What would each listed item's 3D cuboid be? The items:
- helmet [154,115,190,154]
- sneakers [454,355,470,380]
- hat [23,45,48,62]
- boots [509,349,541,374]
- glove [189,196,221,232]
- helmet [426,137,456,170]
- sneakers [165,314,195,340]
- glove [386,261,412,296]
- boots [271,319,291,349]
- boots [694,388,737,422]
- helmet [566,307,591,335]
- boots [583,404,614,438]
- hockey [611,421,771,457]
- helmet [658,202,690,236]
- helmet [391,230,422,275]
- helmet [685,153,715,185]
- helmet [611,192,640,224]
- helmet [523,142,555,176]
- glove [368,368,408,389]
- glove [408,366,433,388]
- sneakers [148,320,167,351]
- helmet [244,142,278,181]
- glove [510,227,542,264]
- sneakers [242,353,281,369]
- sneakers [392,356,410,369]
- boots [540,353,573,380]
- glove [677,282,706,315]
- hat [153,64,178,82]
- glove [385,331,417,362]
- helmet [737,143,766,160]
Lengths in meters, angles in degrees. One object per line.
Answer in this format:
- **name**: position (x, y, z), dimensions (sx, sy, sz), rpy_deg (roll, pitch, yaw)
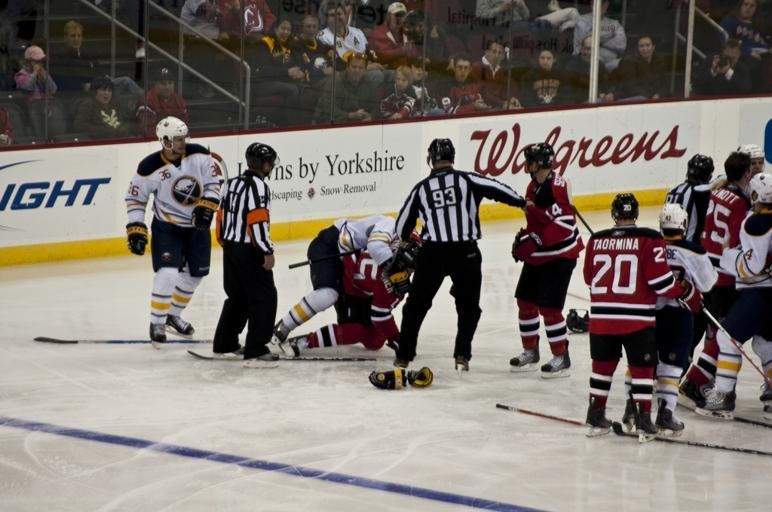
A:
- **helmet**: position (-1.951, -1.109, 9.092), dimensions (0.354, 0.322, 0.276), rpy_deg (7, 25, 15)
- **sneakers**: position (0.639, 0.937, 8.383), dimensions (0.110, 0.164, 0.084), rpy_deg (-2, 17, 9)
- **hat**: position (-3.918, -2.262, 11.182), dimensions (0.194, 0.113, 0.141), rpy_deg (2, 16, 21)
- **boots**: position (1.190, 0.899, 8.572), dimensions (0.261, 0.172, 0.196), rpy_deg (0, 6, 1)
- **glove**: position (-1.620, -0.386, 8.984), dimensions (0.233, 0.274, 0.111), rpy_deg (14, -21, 5)
- **helmet**: position (0.457, -0.855, 8.401), dimensions (0.261, 0.267, 0.279), rpy_deg (1, -15, 1)
- **sneakers**: position (-1.885, 0.649, 9.242), dimensions (0.297, 0.116, 0.150), rpy_deg (22, 29, 15)
- **glove**: position (0.106, 0.200, 8.377), dimensions (0.194, 0.289, 0.116), rpy_deg (-1, 6, -4)
- **boots**: position (-0.953, 0.680, 8.753), dimensions (0.126, 0.249, 0.215), rpy_deg (-5, 7, -38)
- **boots**: position (2.541, 1.136, 7.646), dimensions (0.414, 0.270, 0.142), rpy_deg (5, 0, 12)
- **helmet**: position (1.826, 0.631, 9.582), dimensions (0.205, 0.216, 0.200), rpy_deg (1, 6, 9)
- **boots**: position (1.578, 1.184, 7.302), dimensions (0.248, 0.223, 0.113), rpy_deg (-5, 20, -34)
- **hockey**: position (2.167, 1.334, 7.209), dimensions (0.863, 0.089, 0.121), rpy_deg (8, 1, 6)
- **helmet**: position (2.115, -0.269, 7.393), dimensions (0.175, 0.222, 0.274), rpy_deg (1, 6, 14)
- **helmet**: position (0.181, -0.010, 8.446), dimensions (0.259, 0.343, 0.147), rpy_deg (35, -28, -14)
- **helmet**: position (2.744, -0.752, 8.767), dimensions (0.243, 0.274, 0.287), rpy_deg (9, 8, 15)
- **helmet**: position (1.721, -0.345, 7.324), dimensions (0.199, 0.232, 0.244), rpy_deg (3, 11, 10)
- **helmet**: position (1.272, -0.819, 8.418), dimensions (0.240, 0.281, 0.304), rpy_deg (-13, 21, -43)
- **glove**: position (0.020, 0.996, 8.060), dimensions (0.262, 0.093, 0.150), rpy_deg (-4, -31, -5)
- **glove**: position (0.280, 0.992, 8.133), dimensions (0.184, 0.136, 0.096), rpy_deg (10, -6, -5)
- **sneakers**: position (-2.045, 0.721, 8.975), dimensions (0.103, 0.127, 0.293), rpy_deg (-3, 23, -19)
- **helmet**: position (-1.047, -0.798, 8.480), dimensions (0.262, 0.294, 0.177), rpy_deg (-5, 8, -40)
- **glove**: position (1.158, -0.075, 8.396), dimensions (0.196, 0.266, 0.210), rpy_deg (29, 22, -6)
- **sneakers**: position (-1.043, 0.902, 8.505), dimensions (0.353, 0.131, 0.112), rpy_deg (-3, 4, -2)
- **sneakers**: position (0.125, 0.892, 8.315), dimensions (0.134, 0.070, 0.210), rpy_deg (2, 1, 5)
- **boots**: position (1.464, 0.927, 8.461), dimensions (0.373, 0.182, 0.163), rpy_deg (-4, 7, -37)
- **glove**: position (2.274, 0.324, 7.438), dimensions (0.262, 0.092, 0.202), rpy_deg (39, 37, -15)
- **hat**: position (-2.624, -2.171, 11.910), dimensions (0.205, 0.121, 0.210), rpy_deg (10, 14, 44)
- **glove**: position (0.106, 0.785, 8.505), dimensions (0.128, 0.157, 0.449), rpy_deg (5, 12, -22)
- **helmet**: position (3.252, -0.925, 8.920), dimensions (0.171, 0.117, 0.541), rpy_deg (3, 6, 26)
